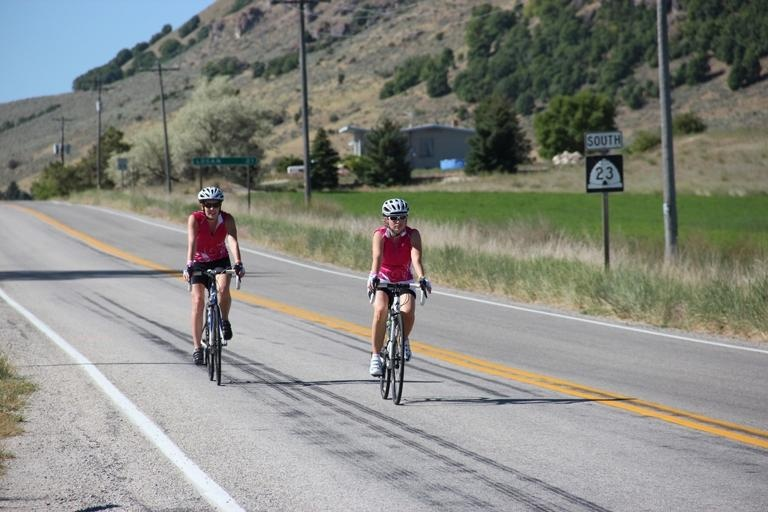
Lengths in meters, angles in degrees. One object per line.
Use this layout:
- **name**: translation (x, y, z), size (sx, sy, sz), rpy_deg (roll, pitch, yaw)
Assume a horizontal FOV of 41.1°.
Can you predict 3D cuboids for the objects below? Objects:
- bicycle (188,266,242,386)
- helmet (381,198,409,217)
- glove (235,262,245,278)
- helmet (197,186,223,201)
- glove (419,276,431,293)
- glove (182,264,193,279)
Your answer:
- **bicycle**: translation (-4.062, 1.641, 24.876), size (0.740, 2.751, 1.056), rpy_deg (-6, 7, -44)
- **helmet**: translation (0.274, -1.133, 23.927), size (0.536, 0.396, 0.556), rpy_deg (-2, 6, -3)
- **glove**: translation (-3.420, 0.334, 24.481), size (0.130, 0.363, 0.245), rpy_deg (-2, -10, -1)
- **helmet**: translation (-4.134, -1.466, 24.509), size (0.520, 0.325, 0.503), rpy_deg (-4, 7, -19)
- **glove**: translation (1.004, 0.666, 23.827), size (0.127, 0.352, 0.249), rpy_deg (-27, -8, -8)
- **glove**: translation (-4.678, 0.369, 24.640), size (0.216, 0.376, 0.126), rpy_deg (-4, 5, -25)
